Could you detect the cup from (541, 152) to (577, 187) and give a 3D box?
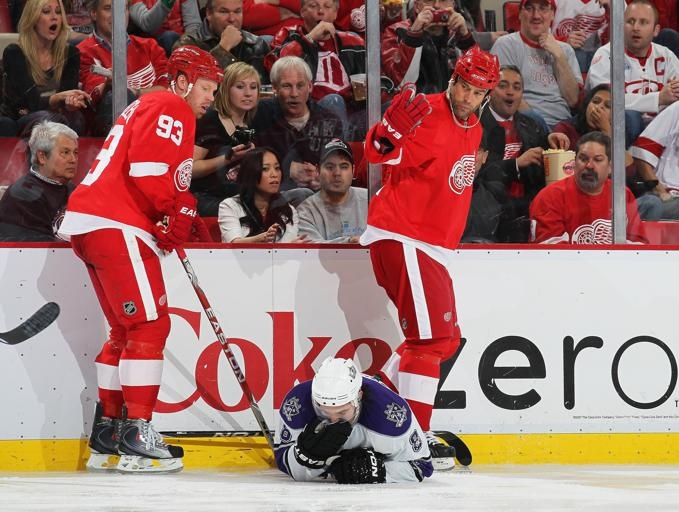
[{"bbox_3d":[1.282,-0.502,6.164,0.176,0.194,0.185,0,-6,0],"label":"cup"}]

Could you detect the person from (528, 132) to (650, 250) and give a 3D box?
[{"bbox_3d":[1.493,-0.306,6.209,0.733,0.829,0.464,4,-5,-4],"label":"person"}]

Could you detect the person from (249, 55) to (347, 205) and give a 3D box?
[{"bbox_3d":[-0.253,-0.621,6.046,0.621,0.992,0.536,-4,17,-2],"label":"person"}]

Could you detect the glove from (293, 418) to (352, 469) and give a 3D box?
[{"bbox_3d":[-0.068,0.932,5.242,0.216,0.268,0.107,39,-9,28],"label":"glove"}]

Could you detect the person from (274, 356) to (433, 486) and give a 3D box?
[{"bbox_3d":[0.102,0.846,5.487,0.805,0.650,0.860,4,10,17],"label":"person"}]

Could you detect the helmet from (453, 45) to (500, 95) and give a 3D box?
[{"bbox_3d":[0.742,-0.971,5.725,0.239,0.288,0.302,22,8,5],"label":"helmet"}]

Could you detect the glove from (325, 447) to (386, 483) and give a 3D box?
[{"bbox_3d":[0.100,1.039,5.189,0.206,0.083,0.167,-3,19,-18],"label":"glove"}]

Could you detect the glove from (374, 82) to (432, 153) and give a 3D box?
[{"bbox_3d":[0.316,-0.709,5.436,0.240,0.360,0.108,40,25,15],"label":"glove"}]

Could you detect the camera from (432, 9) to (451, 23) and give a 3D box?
[{"bbox_3d":[0.595,-1.375,6.117,0.102,0.074,0.066,0,4,-2],"label":"camera"}]

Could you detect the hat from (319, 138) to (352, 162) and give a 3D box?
[{"bbox_3d":[0.000,-0.639,6.120,0.167,0.125,0.277,2,23,1],"label":"hat"}]

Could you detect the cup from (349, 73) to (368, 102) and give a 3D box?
[{"bbox_3d":[0.119,-0.977,6.068,0.117,0.137,0.138,0,-2,7],"label":"cup"}]

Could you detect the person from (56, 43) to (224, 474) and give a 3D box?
[{"bbox_3d":[-1.048,0.010,5.580,0.836,2.262,0.429,-1,4,-18],"label":"person"}]
